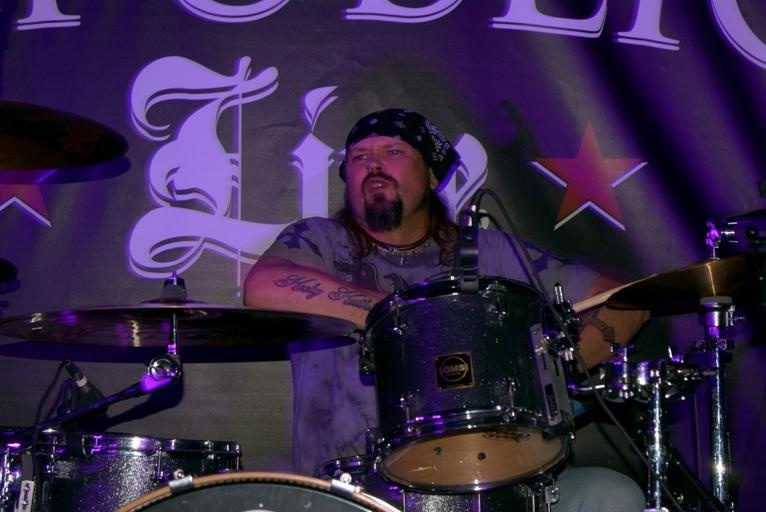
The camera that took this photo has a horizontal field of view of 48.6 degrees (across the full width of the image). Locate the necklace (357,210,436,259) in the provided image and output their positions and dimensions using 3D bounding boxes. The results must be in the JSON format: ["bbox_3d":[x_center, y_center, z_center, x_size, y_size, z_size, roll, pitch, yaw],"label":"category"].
[{"bbox_3d":[0.046,-0.094,4.309,0.283,0.074,0.238,9,-34,-18],"label":"necklace"}]

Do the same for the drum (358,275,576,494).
[{"bbox_3d":[0.304,0.517,3.591,0.853,0.609,0.842,-4,-31,-2],"label":"drum"}]
